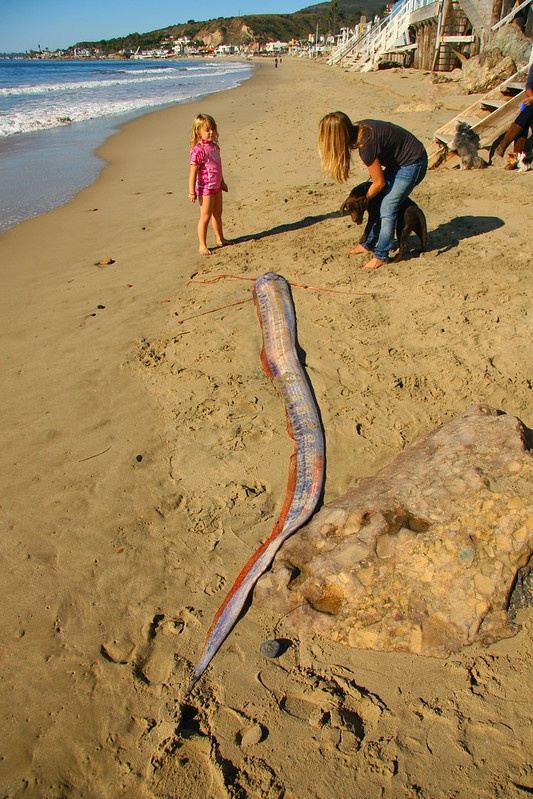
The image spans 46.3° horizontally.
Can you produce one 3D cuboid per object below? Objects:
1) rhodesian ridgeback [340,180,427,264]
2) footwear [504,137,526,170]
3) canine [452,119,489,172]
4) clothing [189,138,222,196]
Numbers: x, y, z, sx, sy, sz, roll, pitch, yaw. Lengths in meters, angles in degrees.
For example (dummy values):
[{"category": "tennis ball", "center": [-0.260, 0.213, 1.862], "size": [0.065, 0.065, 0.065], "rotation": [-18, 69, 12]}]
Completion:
[{"category": "rhodesian ridgeback", "center": [1.043, -1.575, 5.501], "size": [0.814, 0.529, 0.238], "rotation": [16, 25, 14]}, {"category": "footwear", "center": [3.002, -2.885, 7.457], "size": [0.263, 0.133, 0.409], "rotation": [-5, 57, 6]}, {"category": "canine", "center": [2.552, -3.125, 7.789], "size": [0.247, 0.786, 0.387], "rotation": [-3, -2, 22]}, {"category": "clothing", "center": [-0.614, -2.342, 6.320], "size": [0.277, 0.479, 0.445], "rotation": [20, 48, 16]}]
